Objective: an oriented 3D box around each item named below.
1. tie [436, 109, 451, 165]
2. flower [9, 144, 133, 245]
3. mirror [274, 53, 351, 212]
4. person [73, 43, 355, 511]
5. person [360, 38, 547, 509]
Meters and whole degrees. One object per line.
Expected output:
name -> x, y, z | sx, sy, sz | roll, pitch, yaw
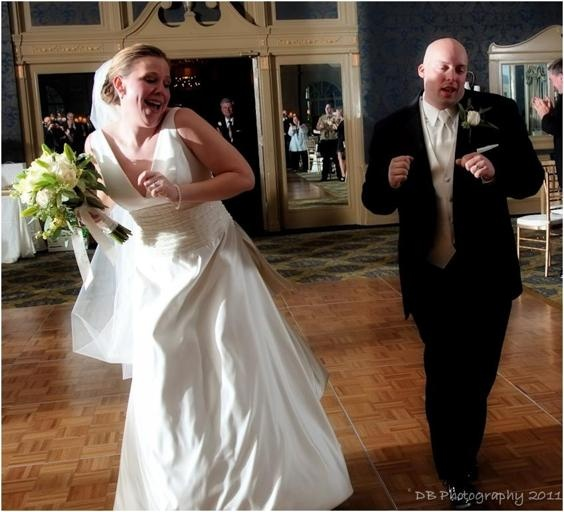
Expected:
tie -> 0.619, -0.452, 1.696 | 0.064, 0.196, 0.041 | -1, 9, 13
flower -> -0.761, -0.191, 1.712 | 0.383, 0.351, 0.339 | 29, 11, -17
mirror -> 0.650, -2.244, 8.302 | 1.221, 2.574, 0.062 | -6, 4, -21
person -> -0.252, 0.139, 1.640 | 0.882, 1.742, 0.563 | -6, 9, -14
person -> 0.659, 0.085, 1.747 | 0.660, 1.770, 0.365 | -2, 9, 10
